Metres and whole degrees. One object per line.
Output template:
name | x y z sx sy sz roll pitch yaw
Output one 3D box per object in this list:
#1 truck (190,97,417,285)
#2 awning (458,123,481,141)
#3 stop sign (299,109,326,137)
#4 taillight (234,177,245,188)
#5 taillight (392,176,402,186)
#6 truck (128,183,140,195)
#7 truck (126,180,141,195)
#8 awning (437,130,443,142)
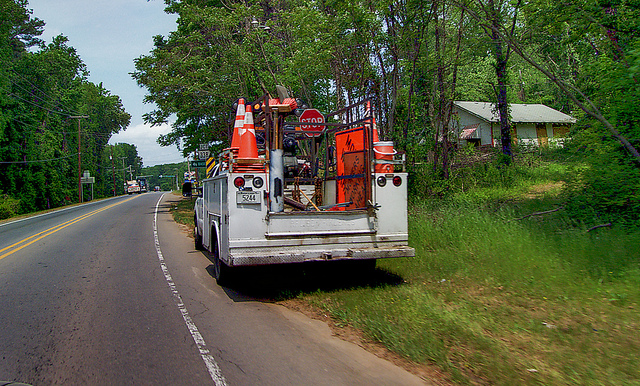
truck | -0.227 -0.153 11.507 5.991 4.912 3.175 -6 0 -8
awning | 15.607 -6.286 42.561 1.419 1.555 2.201 4 -5 -29
stop sign | -0.240 -2.034 12.087 0.900 0.845 0.121 3 -8 -21
taillight | -1.942 -0.247 9.883 0.257 0.245 0.104 2 -4 -7
taillight | 2.000 -0.305 10.558 0.235 0.242 0.049 -6 0 -13
truck | -36.959 -0.917 81.679 2.131 2.191 2.357 -6 0 -24
truck | -37.065 -1.144 82.328 2.163 2.095 3.516 0 2 -26
awning | 9.959 -4.607 34.029 0.240 0.994 5.263 -7 0 16
